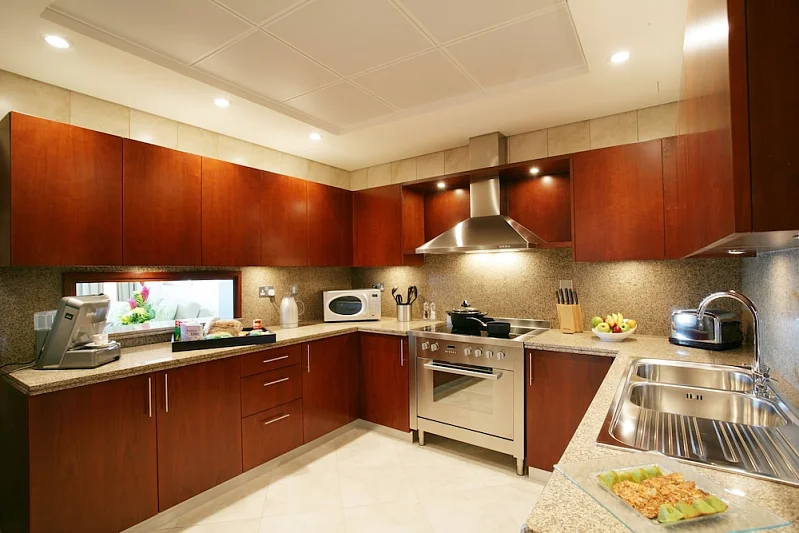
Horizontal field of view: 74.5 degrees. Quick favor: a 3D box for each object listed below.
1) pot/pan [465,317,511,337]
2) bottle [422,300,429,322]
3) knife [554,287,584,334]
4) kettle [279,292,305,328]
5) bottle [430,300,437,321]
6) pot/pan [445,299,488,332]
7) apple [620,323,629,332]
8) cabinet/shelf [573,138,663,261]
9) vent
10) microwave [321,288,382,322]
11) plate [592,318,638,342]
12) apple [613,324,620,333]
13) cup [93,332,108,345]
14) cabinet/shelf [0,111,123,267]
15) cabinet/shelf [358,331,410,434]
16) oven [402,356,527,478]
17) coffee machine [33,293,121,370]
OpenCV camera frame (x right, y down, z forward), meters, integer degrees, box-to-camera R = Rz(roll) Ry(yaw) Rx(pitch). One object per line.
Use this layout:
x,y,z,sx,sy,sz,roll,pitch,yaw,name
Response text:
0.741,0.510,4.353,0.308,0.119,0.175,0,0,-4,pot/pan
0.254,0.449,5.281,0.058,0.171,0.149,-2,13,-6,bottle
1.389,0.372,4.305,0.213,0.355,0.148,3,13,17,knife
-1.040,0.425,5.022,0.204,0.350,0.491,-4,13,-12,kettle
0.330,0.447,5.213,0.058,0.165,0.142,-1,12,1,bottle
0.583,0.454,4.609,0.300,0.204,0.270,0,1,8,pot/pan
1.675,0.463,3.924,0.049,0.047,0.054,4,13,20,apple
1.653,-0.486,4.031,0.669,0.909,0.281,3,13,17,cabinet/shelf
0.823,-0.597,4.849,1.086,0.995,0.971,-1,-5,39,vent
-0.487,0.389,5.103,0.497,0.300,0.323,0,-7,-10,microwave
1.657,0.483,4.079,0.293,0.184,0.381,4,13,22,plate
1.622,0.470,3.936,0.061,0.049,0.054,2,13,15,apple
-2.078,0.506,3.656,0.070,0.052,0.070,4,4,0,cup
-2.253,-0.505,3.587,0.729,1.039,0.286,-7,14,-26,cabinet/shelf
-0.138,1.022,4.760,0.600,0.810,0.165,7,15,33,cabinet/shelf
0.705,1.061,4.573,1.139,0.912,0.802,0,-1,42,oven
-2.167,0.443,3.647,0.522,0.658,0.392,3,2,-6,coffee machine
